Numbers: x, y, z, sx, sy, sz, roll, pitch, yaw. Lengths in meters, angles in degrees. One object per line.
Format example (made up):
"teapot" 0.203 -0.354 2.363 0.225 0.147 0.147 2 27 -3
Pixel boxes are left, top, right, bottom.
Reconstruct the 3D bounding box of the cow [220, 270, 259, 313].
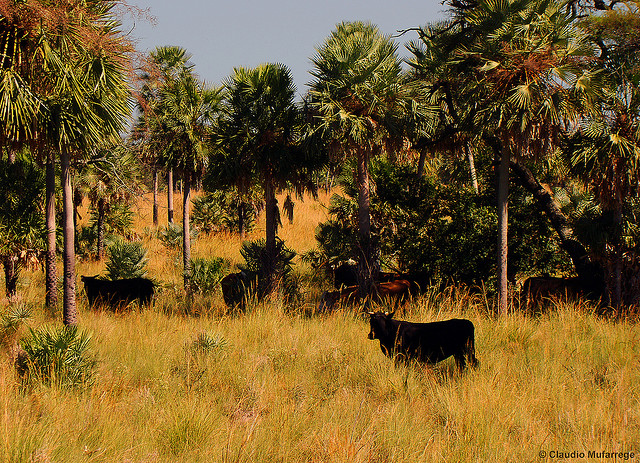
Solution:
"cow" -1.768 1.327 23.461 0.636 0.798 0.828 -13 -29 11

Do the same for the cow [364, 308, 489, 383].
"cow" 1.852 2.192 20.293 2.648 1.959 1.027 2 -8 10

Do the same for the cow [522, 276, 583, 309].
"cow" 4.923 1.295 22.728 1.272 0.711 0.735 0 -6 12
